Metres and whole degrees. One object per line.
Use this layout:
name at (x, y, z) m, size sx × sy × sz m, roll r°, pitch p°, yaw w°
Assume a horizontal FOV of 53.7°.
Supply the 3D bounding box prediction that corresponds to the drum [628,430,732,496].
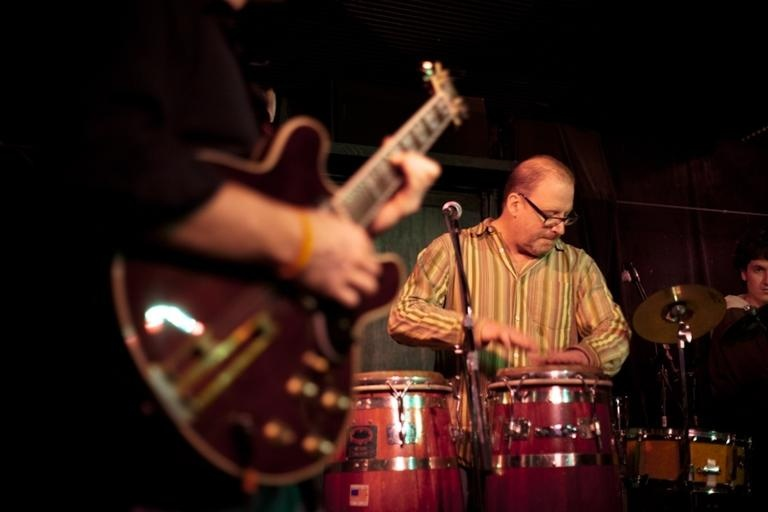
drum at (1.886, 1.277, 4.804) m, size 0.678 × 0.385 × 0.238 m, roll 3°, pitch -5°, yaw 17°

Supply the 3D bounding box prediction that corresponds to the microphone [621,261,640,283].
microphone at (1.728, 0.110, 5.305) m, size 0.029 × 0.100 × 0.201 m, roll -27°, pitch 18°, yaw 38°

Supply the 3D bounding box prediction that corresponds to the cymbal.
cymbal at (1.975, 0.391, 5.043) m, size 0.706 × 0.376 × 0.370 m, roll 8°, pitch -7°, yaw -28°
